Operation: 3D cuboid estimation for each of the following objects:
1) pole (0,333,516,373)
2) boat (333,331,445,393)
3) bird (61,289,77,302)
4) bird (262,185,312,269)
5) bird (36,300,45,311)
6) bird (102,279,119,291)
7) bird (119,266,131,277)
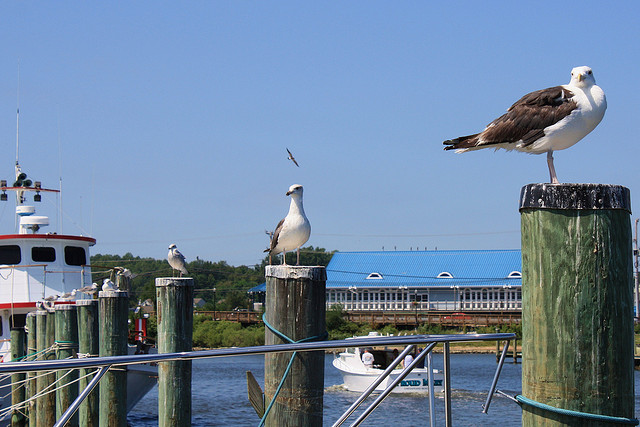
[{"bbox_3d":[-1.674,3.065,32.222,10.954,0.562,0.590,-2,-4,0],"label":"pole"},{"bbox_3d":[2.148,5.772,52.324,2.032,1.924,5.997,2,-1,-24],"label":"boat"},{"bbox_3d":[-7.305,2.366,42.112,0.584,0.362,0.293,-7,-4,44],"label":"bird"},{"bbox_3d":[-0.793,0.311,35.101,0.943,1.894,1.332,-1,-5,-11],"label":"bird"},{"bbox_3d":[-7.900,2.557,40.614,0.193,0.243,0.107,-8,4,1],"label":"bird"},{"bbox_3d":[-5.647,1.904,38.531,0.358,0.147,0.337,-7,-15,37],"label":"bird"},{"bbox_3d":[-5.499,1.636,40.760,0.231,0.109,0.305,4,-12,11],"label":"bird"}]
